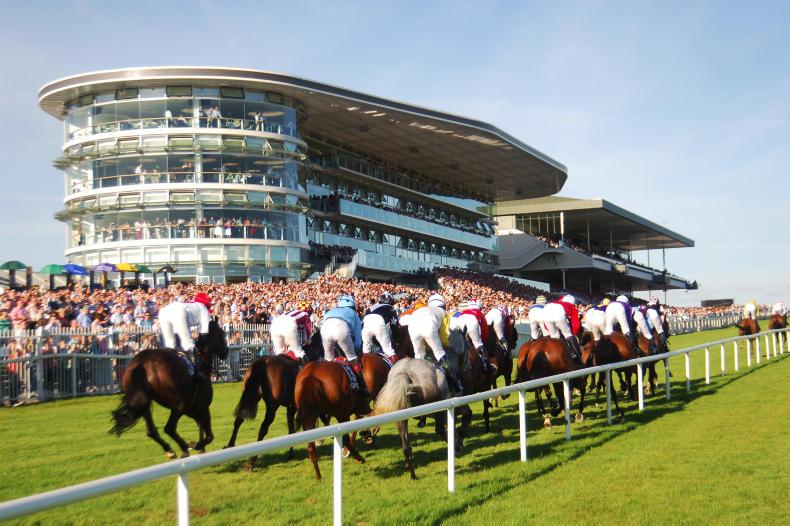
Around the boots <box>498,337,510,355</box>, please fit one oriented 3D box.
[{"bbox_3d":[2.298,1.745,17.981,0.127,0.515,0.173,-1,-16,-26],"label":"boots"}]

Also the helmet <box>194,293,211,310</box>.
[{"bbox_3d":[-3.247,0.642,14.660,0.213,0.251,0.286,15,-10,-23],"label":"helmet"}]

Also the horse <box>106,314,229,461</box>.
[{"bbox_3d":[-3.560,2.182,14.226,1.032,2.073,3.242,-7,-3,17],"label":"horse"}]

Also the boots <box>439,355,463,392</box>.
[{"bbox_3d":[0.920,1.819,14.257,0.192,0.643,0.349,-19,33,16],"label":"boots"}]

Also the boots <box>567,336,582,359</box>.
[{"bbox_3d":[3.493,1.640,16.745,0.197,0.269,0.615,-7,37,12],"label":"boots"}]

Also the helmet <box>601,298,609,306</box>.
[{"bbox_3d":[4.536,0.828,18.534,0.155,0.191,0.091,30,-13,-17],"label":"helmet"}]

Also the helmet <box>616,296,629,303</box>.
[{"bbox_3d":[4.790,0.772,18.173,0.201,0.196,0.189,-15,-7,27],"label":"helmet"}]
